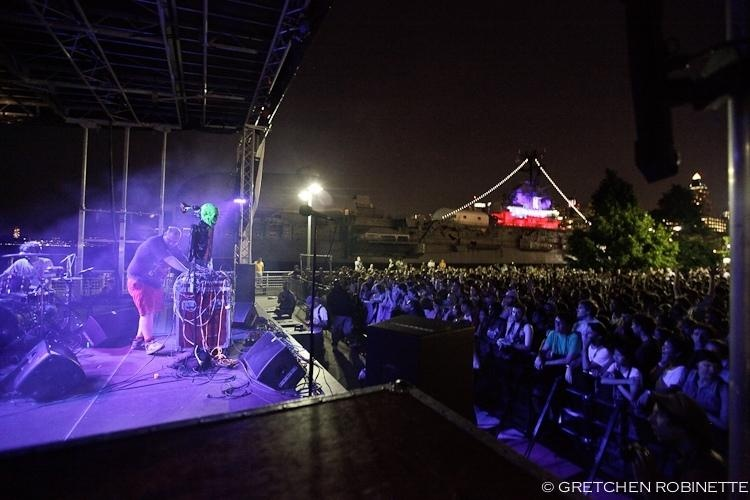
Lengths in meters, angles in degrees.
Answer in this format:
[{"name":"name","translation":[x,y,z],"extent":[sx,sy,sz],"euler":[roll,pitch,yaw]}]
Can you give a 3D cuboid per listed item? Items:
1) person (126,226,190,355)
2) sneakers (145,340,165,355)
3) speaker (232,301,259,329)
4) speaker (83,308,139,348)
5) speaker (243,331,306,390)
[{"name":"person","translation":[-4.723,0.848,11.550],"extent":[0.950,2.216,0.508],"euler":[1,0,-9]},{"name":"sneakers","translation":[-4.720,2.068,11.533],"extent":[0.508,0.254,0.212],"euler":[-9,-6,34]},{"name":"speaker","translation":[-3.386,1.693,14.127],"extent":[0.603,0.523,1.088],"euler":[1,0,-13]},{"name":"speaker","translation":[-6.044,1.780,12.479],"extent":[0.933,0.826,0.714],"euler":[7,-13,-39]},{"name":"speaker","translation":[-1.884,2.127,10.139],"extent":[0.836,0.837,1.147],"euler":[-6,10,-33]}]
